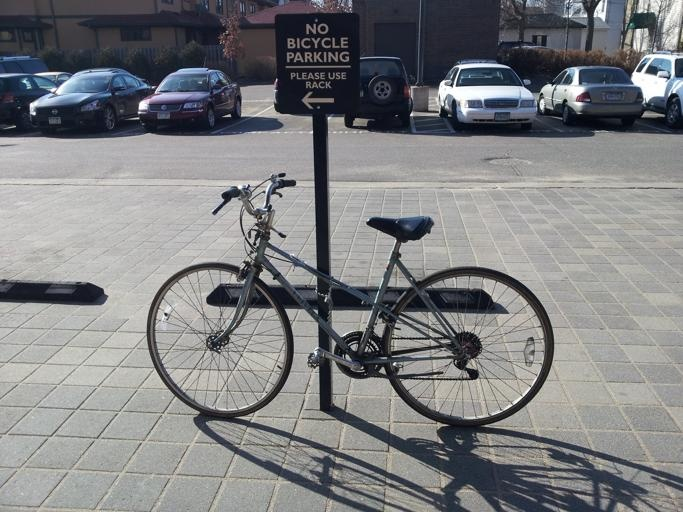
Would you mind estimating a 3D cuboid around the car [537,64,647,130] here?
[{"bbox_3d":[6.631,-4.273,18.327,1.623,1.474,2.833,-2,21,-5],"label":"car"}]

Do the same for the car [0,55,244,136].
[{"bbox_3d":[-5.711,-4.231,19.051,5.625,1.648,3.143,-4,22,-9],"label":"car"}]

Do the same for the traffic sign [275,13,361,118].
[{"bbox_3d":[-0.158,-1.248,4.437,0.778,0.755,0.054,1,17,7],"label":"traffic sign"}]
